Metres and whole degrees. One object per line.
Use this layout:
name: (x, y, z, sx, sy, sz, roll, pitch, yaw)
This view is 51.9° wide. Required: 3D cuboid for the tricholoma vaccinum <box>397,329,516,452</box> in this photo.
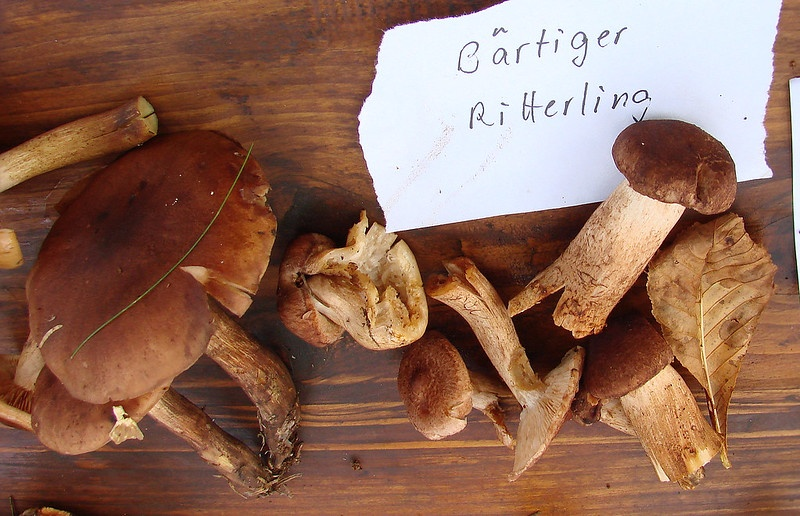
tricholoma vaccinum: (0.229, 0.483, 3.171, 0.438, 0.361, 0.371, -6, 54, -40)
